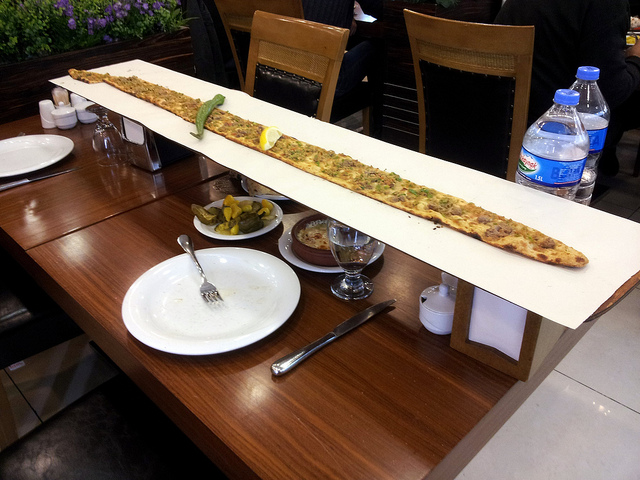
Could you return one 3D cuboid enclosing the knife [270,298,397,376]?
[{"bbox_3d":[0.026,0.205,0.915,0.260,0.014,0.038,-26,41,-26],"label":"knife"}]

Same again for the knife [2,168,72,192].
[{"bbox_3d":[-0.949,-0.202,1.478,0.231,0.016,0.026,-18,31,-26],"label":"knife"}]

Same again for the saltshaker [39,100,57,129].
[{"bbox_3d":[-1.128,-0.529,1.830,0.069,0.094,0.105,-17,42,-18],"label":"saltshaker"}]

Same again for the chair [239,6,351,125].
[{"bbox_3d":[-0.120,-0.730,1.814,0.498,0.314,0.144,30,49,32],"label":"chair"}]

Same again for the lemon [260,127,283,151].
[{"bbox_3d":[-0.122,-0.255,1.111,0.023,0.045,0.085,-29,22,39],"label":"lemon"}]

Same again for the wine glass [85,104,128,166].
[{"bbox_3d":[-0.778,-0.351,1.628,0.146,0.261,0.147,-14,9,-25],"label":"wine glass"}]

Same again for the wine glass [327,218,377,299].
[{"bbox_3d":[0.067,0.036,0.987,0.093,0.153,0.099,-16,5,-44],"label":"wine glass"}]
